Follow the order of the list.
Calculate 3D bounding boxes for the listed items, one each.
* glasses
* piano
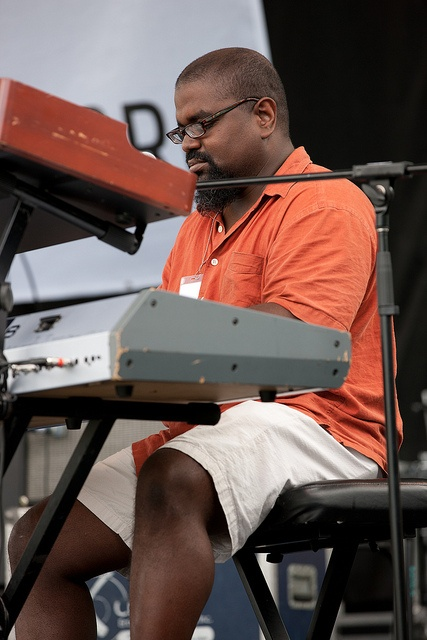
[{"bbox_3d":[-0.021,-0.453,1.791,0.224,0.102,0.188,1,16,38],"label":"glasses"},{"bbox_3d":[-0.059,0.034,1.058,0.478,0.179,0.279,0,13,7],"label":"piano"}]
